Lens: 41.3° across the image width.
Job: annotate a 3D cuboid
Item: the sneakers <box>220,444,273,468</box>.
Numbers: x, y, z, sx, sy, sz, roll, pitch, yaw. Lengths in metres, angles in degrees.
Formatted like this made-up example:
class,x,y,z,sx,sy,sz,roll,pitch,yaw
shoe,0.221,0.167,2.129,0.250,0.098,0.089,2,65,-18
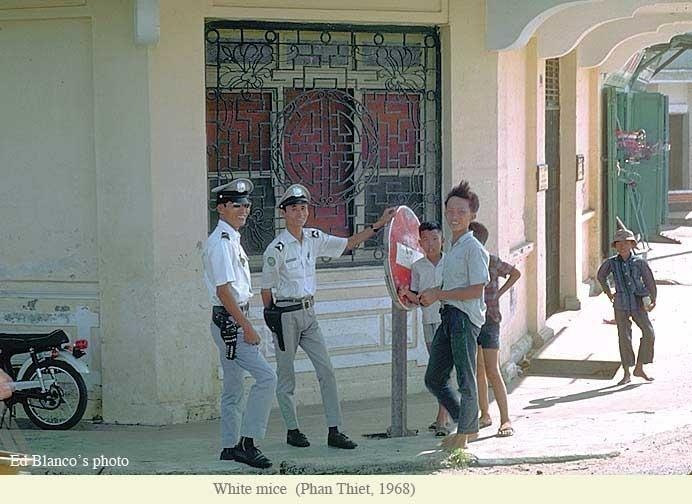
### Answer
class,x,y,z,sx,sy,sz,roll,pitch,yaw
sneakers,-0.921,1.884,8.546,0.508,0.235,0.173,4,4,17

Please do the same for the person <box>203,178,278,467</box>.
class,x,y,z,sx,sy,sz,roll,pitch,yaw
person,-0.995,0.848,8.489,0.453,2.251,0.611,-6,6,-35

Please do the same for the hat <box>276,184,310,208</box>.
class,x,y,z,sx,sy,sz,roll,pitch,yaw
hat,-0.498,-0.541,8.833,0.275,0.217,0.253,-3,6,-5

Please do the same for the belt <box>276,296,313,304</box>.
class,x,y,z,sx,sy,sz,roll,pitch,yaw
belt,-0.493,0.460,8.788,0.344,0.063,0.100,-4,6,-10

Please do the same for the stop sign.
class,x,y,z,sx,sy,sz,roll,pitch,yaw
stop sign,0.573,0.071,8.704,0.134,0.935,1.070,-2,3,18

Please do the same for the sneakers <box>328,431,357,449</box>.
class,x,y,z,sx,sy,sz,roll,pitch,yaw
sneakers,-0.061,1.814,8.854,0.350,0.153,0.121,2,1,18

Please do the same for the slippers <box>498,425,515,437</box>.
class,x,y,z,sx,sy,sz,roll,pitch,yaw
slippers,1.598,1.786,9.180,0.197,0.091,0.125,-3,6,-5

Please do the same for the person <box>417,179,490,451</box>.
class,x,y,z,sx,sy,sz,roll,pitch,yaw
person,1.041,0.855,8.692,0.652,2.078,0.534,-2,5,9

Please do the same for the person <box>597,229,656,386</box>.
class,x,y,z,sx,sy,sz,roll,pitch,yaw
person,3.347,0.632,10.933,0.643,1.806,0.532,-1,5,17

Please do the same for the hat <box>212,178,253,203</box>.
class,x,y,z,sx,sy,sz,roll,pitch,yaw
hat,-1.093,-0.557,8.625,0.268,0.168,0.309,-3,-1,-43

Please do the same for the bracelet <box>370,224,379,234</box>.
class,x,y,z,sx,sy,sz,roll,pitch,yaw
bracelet,0.280,-0.236,9.073,0.059,0.034,0.077,9,-23,5
